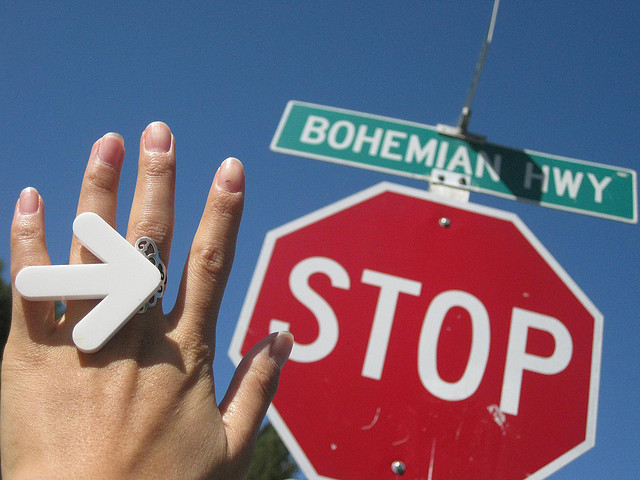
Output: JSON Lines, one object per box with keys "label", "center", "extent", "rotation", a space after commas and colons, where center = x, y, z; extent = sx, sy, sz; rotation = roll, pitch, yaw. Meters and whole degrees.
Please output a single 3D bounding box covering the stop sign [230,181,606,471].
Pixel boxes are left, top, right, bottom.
{"label": "stop sign", "center": [0.413, 0.462, 3.791], "extent": [1.065, 1.116, 0.079], "rotation": [4, -23, -3]}
